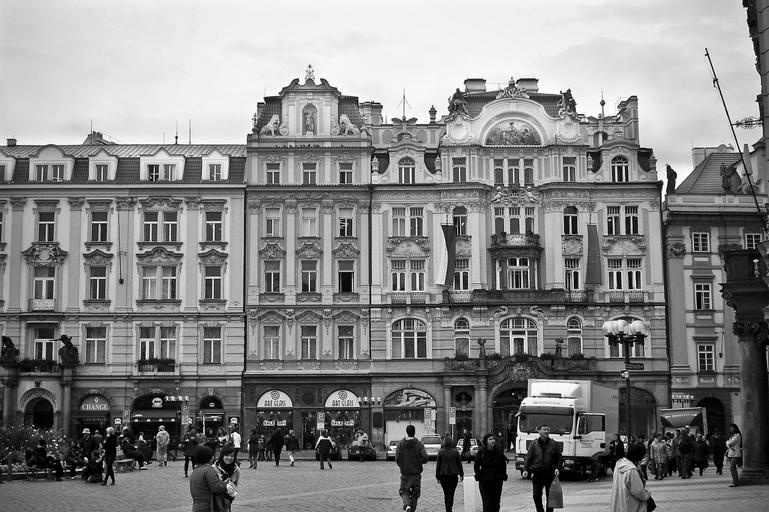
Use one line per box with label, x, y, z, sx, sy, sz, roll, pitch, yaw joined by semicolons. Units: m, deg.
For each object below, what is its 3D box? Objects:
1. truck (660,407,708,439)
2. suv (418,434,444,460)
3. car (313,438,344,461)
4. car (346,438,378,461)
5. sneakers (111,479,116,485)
truck;21.400;11.893;107.016;3.384;3.123;1.991;-2;-19;16
suv;3.128;13.863;103.405;2.233;1.691;4.837;0;-1;4
car;-3.927;13.904;104.501;1.546;1.199;3.327;0;-3;2
car;-1.685;14.200;107.388;1.935;1.449;3.103;-1;-1;4
sneakers;-15.052;12.733;82.551;0.296;0.358;0.247;10;-15;-40
